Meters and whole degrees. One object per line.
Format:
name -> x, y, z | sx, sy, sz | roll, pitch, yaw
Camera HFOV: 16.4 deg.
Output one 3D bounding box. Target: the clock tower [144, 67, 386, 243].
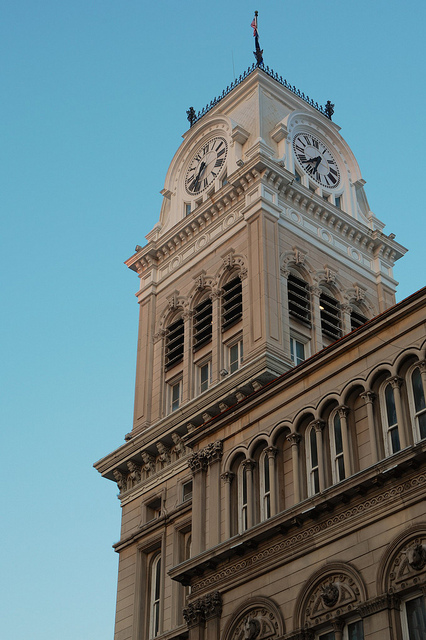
clock tower -> 1.902, -6.648, 76.931 | 13.566, 7.572, 14.882 | 2, -35, 1
